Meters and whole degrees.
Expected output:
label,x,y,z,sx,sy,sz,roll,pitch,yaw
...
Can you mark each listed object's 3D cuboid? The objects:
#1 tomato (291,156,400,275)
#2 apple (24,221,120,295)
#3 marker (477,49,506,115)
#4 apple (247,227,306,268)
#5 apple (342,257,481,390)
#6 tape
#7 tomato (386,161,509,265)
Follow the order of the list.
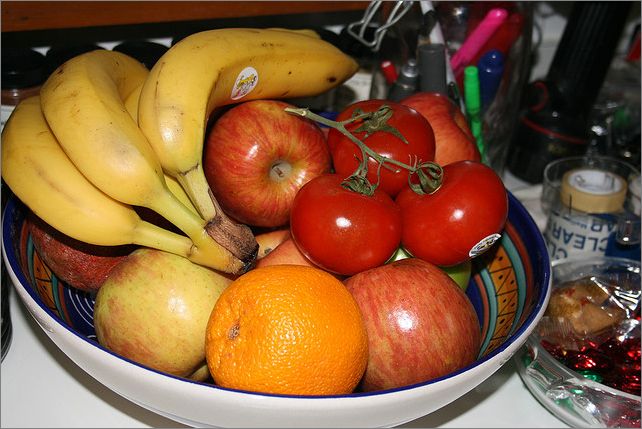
label,x,y,z,sx,sy,sz,roll,pitch,yaw
tomato,0.042,0.017,0.968,0.177,0.189,0.182,15,4,-25
apple,-0.412,0.071,0.953,0.131,0.083,0.123,31,4,-19
marker,0.361,-0.286,1.179,0.060,0.126,0.039,-4,32,-4
apple,-0.076,0.056,0.988,0.080,0.065,0.089,-5,24,-11
apple,0.134,0.175,0.849,0.142,0.131,0.232,15,22,20
tape,0.594,-0.056,1.194,0.129,0.048,0.113,13,47,11
tomato,0.217,-0.006,0.972,0.171,0.166,0.171,-36,15,-5
